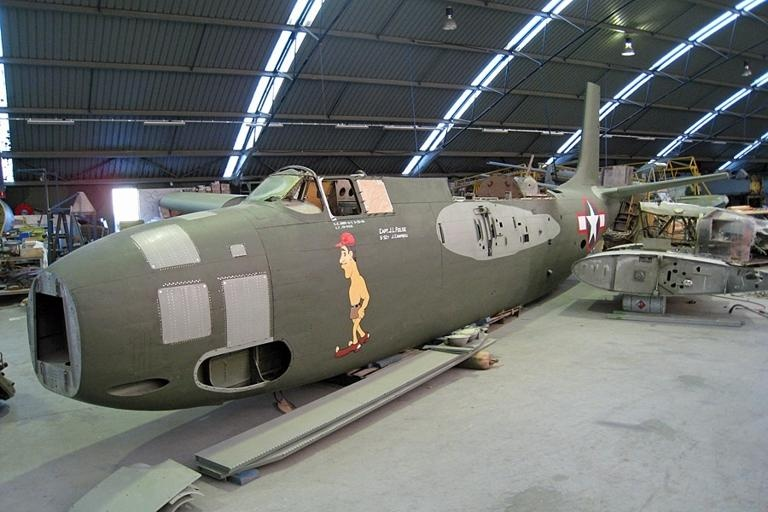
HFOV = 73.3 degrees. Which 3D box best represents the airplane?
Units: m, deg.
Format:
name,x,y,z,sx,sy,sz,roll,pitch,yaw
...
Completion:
name,x,y,z,sx,sy,sz,roll,pitch,yaw
airplane,-0.430,0.070,9.983,10.508,3.778,5.216,-7,4,-37
